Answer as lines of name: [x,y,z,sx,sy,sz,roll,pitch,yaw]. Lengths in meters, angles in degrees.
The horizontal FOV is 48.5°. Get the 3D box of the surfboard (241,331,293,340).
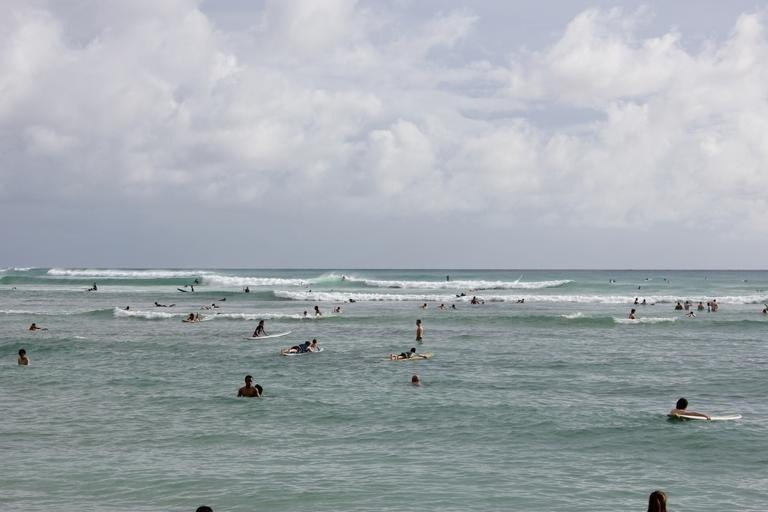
surfboard: [-7.863,5.852,62.221,0.786,0.359,5.308,7,4,43]

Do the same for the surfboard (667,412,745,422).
surfboard: [15.583,7.837,41.491,2.874,0.236,0.435,-1,-9,-3]

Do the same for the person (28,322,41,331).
person: [-26.153,5.350,63.896,1.350,0.329,1.267,2,6,-13]

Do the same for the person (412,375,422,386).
person: [1.832,6.926,47.188,0.547,0.720,0.288,1,8,5]

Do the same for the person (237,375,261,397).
person: [-7.214,7.012,45.636,1.403,1.296,0.495,1,2,13]

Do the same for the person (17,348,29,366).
person: [-21.535,5.906,50.891,0.630,1.037,1.337,-6,15,-23]
